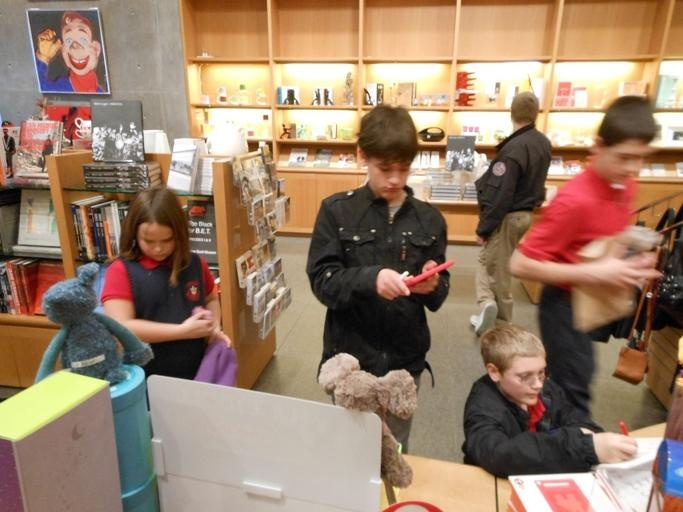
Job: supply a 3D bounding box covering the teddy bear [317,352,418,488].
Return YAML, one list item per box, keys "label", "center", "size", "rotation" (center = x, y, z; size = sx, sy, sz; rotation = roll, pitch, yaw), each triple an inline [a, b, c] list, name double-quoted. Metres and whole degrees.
- label: "teddy bear"
  center: [0.078, 0.435, 1.214]
  size: [0.236, 0.317, 0.203]
  rotation: [-4, -3, -7]

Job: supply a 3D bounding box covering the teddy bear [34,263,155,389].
- label: "teddy bear"
  center: [-0.691, 0.187, 1.348]
  size: [0.231, 0.338, 0.229]
  rotation: [-2, 15, -5]

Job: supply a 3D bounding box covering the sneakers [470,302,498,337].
- label: "sneakers"
  center: [1.068, 0.480, 3.624]
  size: [0.091, 0.312, 0.128]
  rotation: [12, 14, -26]
